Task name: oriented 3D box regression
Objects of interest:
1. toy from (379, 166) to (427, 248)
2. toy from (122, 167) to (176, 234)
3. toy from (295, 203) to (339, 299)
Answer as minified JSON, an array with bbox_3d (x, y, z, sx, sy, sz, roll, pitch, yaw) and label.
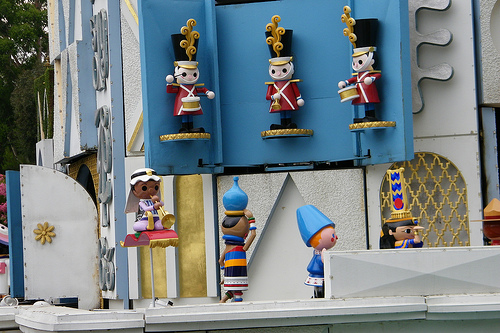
[{"bbox_3d":[2.882,0.789,28.561,0.838,1.565,0.470,-3,-5,11],"label":"toy"},{"bbox_3d":[-1.976,0.634,28.351,1.023,1.279,0.550,-3,-5,9],"label":"toy"},{"bbox_3d":[1.273,1.596,28.176,0.768,1.808,0.443,-3,-5,6],"label":"toy"}]
